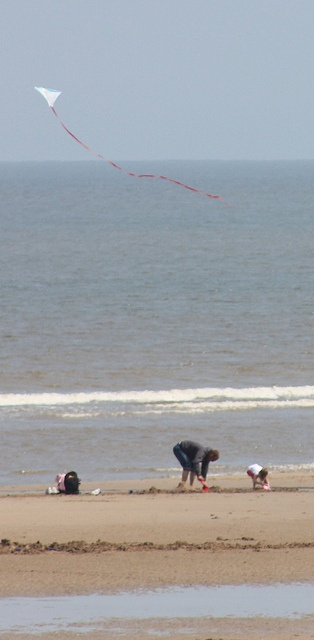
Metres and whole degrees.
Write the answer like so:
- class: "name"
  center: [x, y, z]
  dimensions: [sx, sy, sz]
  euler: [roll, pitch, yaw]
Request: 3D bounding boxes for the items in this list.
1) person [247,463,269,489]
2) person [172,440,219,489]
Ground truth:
- class: "person"
  center: [1.658, 2.526, 23.378]
  dimensions: [0.344, 0.319, 0.773]
  euler: [0, 8, 3]
- class: "person"
  center: [0.558, 2.232, 22.704]
  dimensions: [0.724, 0.916, 0.581]
  euler: [-1, 6, -9]
